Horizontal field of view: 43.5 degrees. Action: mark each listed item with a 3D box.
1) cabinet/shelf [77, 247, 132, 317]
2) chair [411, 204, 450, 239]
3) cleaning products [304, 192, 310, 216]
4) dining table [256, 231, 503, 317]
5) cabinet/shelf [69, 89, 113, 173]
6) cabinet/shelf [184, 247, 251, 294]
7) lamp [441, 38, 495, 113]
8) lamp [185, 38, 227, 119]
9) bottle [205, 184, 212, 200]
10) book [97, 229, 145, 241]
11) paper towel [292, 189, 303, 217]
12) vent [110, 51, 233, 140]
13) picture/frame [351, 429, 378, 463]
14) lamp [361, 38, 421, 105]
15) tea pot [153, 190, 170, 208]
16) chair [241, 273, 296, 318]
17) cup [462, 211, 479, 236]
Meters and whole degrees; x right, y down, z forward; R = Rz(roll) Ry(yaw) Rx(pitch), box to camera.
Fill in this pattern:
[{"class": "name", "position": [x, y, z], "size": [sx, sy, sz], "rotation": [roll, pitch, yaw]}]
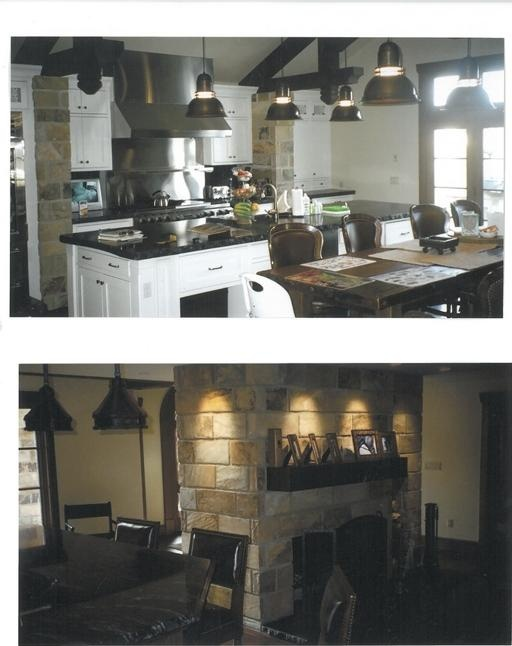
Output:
[{"class": "cabinet/shelf", "position": [-0.841, -0.238, 3.576], "size": [0.252, 0.508, 0.336], "rotation": [-8, 13, -43]}, {"class": "chair", "position": [0.942, -0.547, 3.470], "size": [0.185, 0.251, 0.177], "rotation": [-9, 22, -17]}, {"class": "cleaning products", "position": [0.341, -0.809, 4.355], "size": [0.055, 0.135, 0.183], "rotation": [4, 10, 3]}, {"class": "dining table", "position": [0.606, -0.228, 2.804], "size": [0.968, 0.263, 0.753], "rotation": [-3, 12, -30]}, {"class": "cabinet/shelf", "position": [-1.470, -1.740, 5.658], "size": [0.183, 0.805, 0.647], "rotation": [6, 11, 15]}, {"class": "cabinet/shelf", "position": [-0.255, -0.305, 3.632], "size": [0.242, 0.195, 0.389], "rotation": [13, 19, 42]}, {"class": "lamp", "position": [0.933, -1.103, 2.810], "size": [0.201, 0.357, 0.215], "rotation": [-1, 10, 5]}, {"class": "lamp", "position": [-0.277, -1.313, 3.358], "size": [0.207, 0.440, 0.206], "rotation": [-4, 15, -10]}, {"class": "bottle", "position": [-0.503, -1.363, 6.700], "size": [0.081, 0.133, 0.265], "rotation": [2, 11, -7]}, {"class": "book", "position": [-0.791, -0.504, 3.682], "size": [0.227, 0.068, 0.257], "rotation": [-5, 14, -39]}, {"class": "paper towel", "position": [0.270, -0.794, 4.225], "size": [0.090, 0.176, 0.176], "rotation": [6, 11, 15]}, {"class": "vent", "position": [-0.800, -2.217, 6.228], "size": [1.078, 0.761, 0.530], "rotation": [-11, 24, -32]}, {"class": "picture/frame", "position": [0.178, 0.206, 1.058], "size": [0.049, 0.057, 0.008], "rotation": [6, -27, -13]}, {"class": "lamp", "position": [0.545, -1.033, 2.602], "size": [0.243, 0.276, 0.269], "rotation": [5, 15, 21]}, {"class": "tea pot", "position": [-0.938, -1.214, 6.256], "size": [0.136, 0.192, 0.213], "rotation": [1, 2, 15]}, {"class": "chair", "position": [0.051, -0.113, 2.552], "size": [0.107, 0.193, 0.135], "rotation": [-18, 26, -24]}, {"class": "cup", "position": [1.084, -0.502, 3.238], "size": [0.110, 0.124, 0.101], "rotation": [-2, 10, 0]}]
